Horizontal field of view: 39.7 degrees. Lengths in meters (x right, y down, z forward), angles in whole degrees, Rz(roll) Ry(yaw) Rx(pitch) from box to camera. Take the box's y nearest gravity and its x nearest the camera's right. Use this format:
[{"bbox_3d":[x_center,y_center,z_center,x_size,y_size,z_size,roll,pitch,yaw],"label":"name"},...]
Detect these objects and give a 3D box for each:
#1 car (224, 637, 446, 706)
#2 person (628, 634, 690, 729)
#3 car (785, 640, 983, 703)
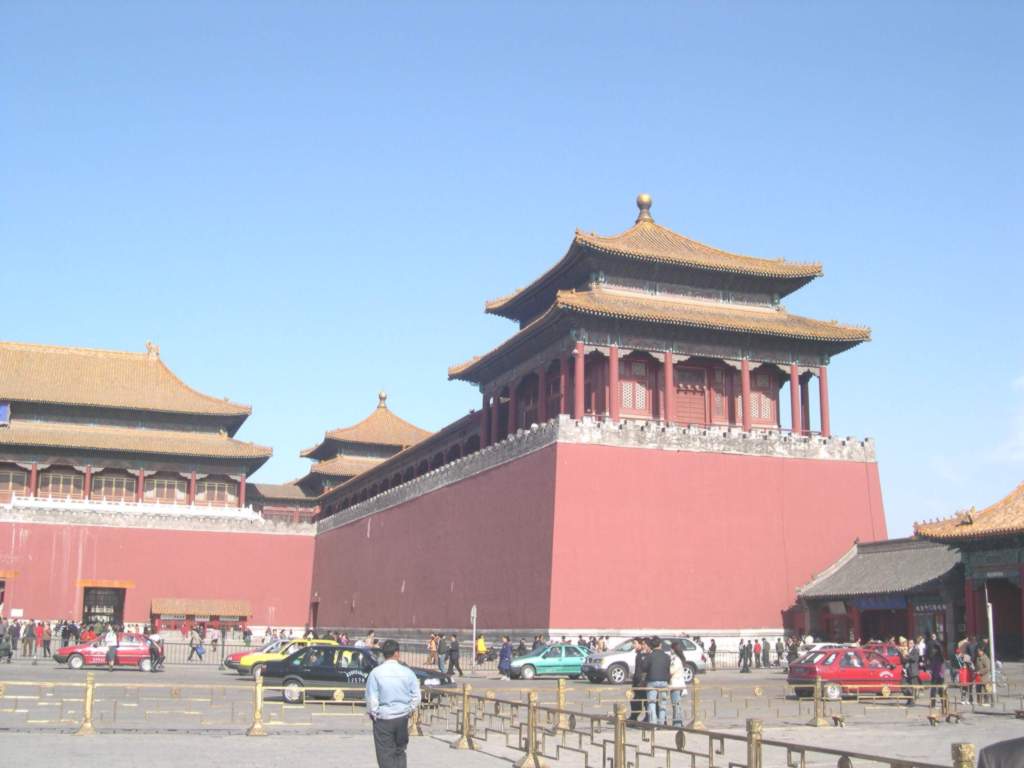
[{"bbox_3d":[-4.832,7.352,37.521,5.528,2.633,2.774,-1,-8,5],"label":"car"},{"bbox_3d":[3.007,6.250,29.594,0.914,2.435,1.043,1,-7,-15],"label":"person"},{"bbox_3d":[8.593,7.284,35.755,3.755,1.694,1.740,2,-10,-11],"label":"car"}]
